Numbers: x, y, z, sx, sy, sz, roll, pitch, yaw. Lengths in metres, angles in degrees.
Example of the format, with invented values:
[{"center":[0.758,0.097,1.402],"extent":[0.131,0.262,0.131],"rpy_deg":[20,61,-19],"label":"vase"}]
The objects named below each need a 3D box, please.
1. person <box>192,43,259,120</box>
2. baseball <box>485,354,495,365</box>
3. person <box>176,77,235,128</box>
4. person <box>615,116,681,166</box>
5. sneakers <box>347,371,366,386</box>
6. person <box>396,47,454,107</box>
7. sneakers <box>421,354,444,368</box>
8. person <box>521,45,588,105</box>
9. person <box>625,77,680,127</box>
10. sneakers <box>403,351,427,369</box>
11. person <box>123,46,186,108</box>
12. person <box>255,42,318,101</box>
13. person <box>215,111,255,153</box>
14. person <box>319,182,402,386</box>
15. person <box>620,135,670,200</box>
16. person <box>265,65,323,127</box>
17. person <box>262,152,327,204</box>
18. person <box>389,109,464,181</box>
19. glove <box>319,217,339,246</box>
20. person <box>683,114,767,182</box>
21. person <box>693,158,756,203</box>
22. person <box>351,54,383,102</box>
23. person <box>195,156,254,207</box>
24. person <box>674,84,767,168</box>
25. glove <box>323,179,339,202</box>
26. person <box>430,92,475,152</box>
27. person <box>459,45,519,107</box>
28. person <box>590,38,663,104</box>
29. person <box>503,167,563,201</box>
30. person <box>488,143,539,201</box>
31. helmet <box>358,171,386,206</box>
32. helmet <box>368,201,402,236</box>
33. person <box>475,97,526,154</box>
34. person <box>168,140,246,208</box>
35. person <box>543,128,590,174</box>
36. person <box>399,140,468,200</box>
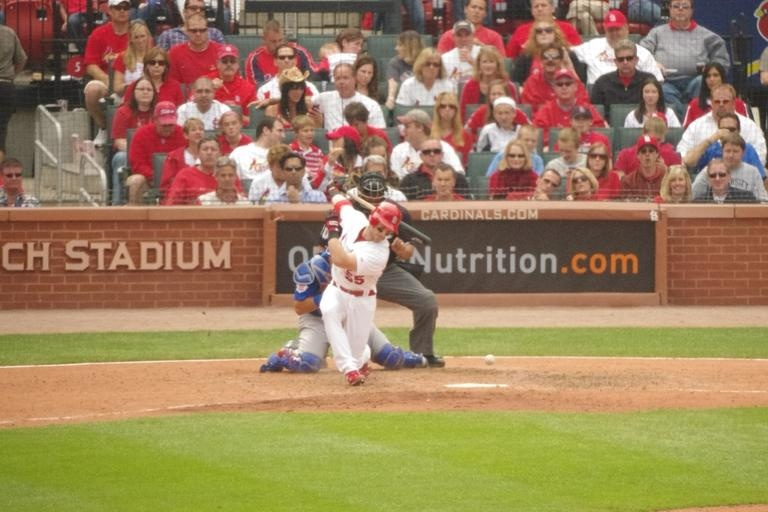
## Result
[{"center":[-2.648,-3.401,29.808],"extent":[1.010,0.618,2.091],"rpy_deg":[-4,-11,1],"label":"person"},{"center":[1.526,1.502,24.166],"extent":[0.132,0.097,0.131],"rpy_deg":[-2,-3,26],"label":"baseball"},{"center":[-3.013,-2.491,28.587],"extent":[1.064,0.878,0.640],"rpy_deg":[-1,1,-13],"label":"person"},{"center":[4.347,-1.876,28.373],"extent":[0.700,0.542,1.072],"rpy_deg":[8,15,-5],"label":"person"},{"center":[-0.380,1.678,22.954],"extent":[0.151,0.137,0.289],"rpy_deg":[29,-18,-21],"label":"sneakers"},{"center":[0.799,-2.994,29.423],"extent":[1.172,1.064,0.609],"rpy_deg":[0,3,-16],"label":"person"},{"center":[0.702,1.514,24.023],"extent":[0.334,0.135,0.141],"rpy_deg":[1,3,1],"label":"sneakers"},{"center":[2.949,-3.034,29.423],"extent":[1.365,1.129,0.770],"rpy_deg":[-1,15,22],"label":"person"},{"center":[4.559,-2.603,29.063],"extent":[1.077,0.885,0.538],"rpy_deg":[-1,-2,0],"label":"person"},{"center":[0.448,1.496,23.881],"extent":[0.318,0.183,0.142],"rpy_deg":[4,7,-8],"label":"sneakers"},{"center":[-3.809,-2.992,29.001],"extent":[1.013,0.914,0.563],"rpy_deg":[-2,-5,7],"label":"person"},{"center":[-1.673,-3.114,29.150],"extent":[1.236,1.033,0.637],"rpy_deg":[1,-24,-6],"label":"person"},{"center":[-2.463,-2.033,28.149],"extent":[0.743,0.674,0.414],"rpy_deg":[-6,14,-17],"label":"person"},{"center":[-0.342,0.511,22.992],"extent":[0.984,2.518,0.510],"rpy_deg":[0,7,-1],"label":"person"},{"center":[4.262,-1.434,27.760],"extent":[0.743,1.059,0.450],"rpy_deg":[1,7,7],"label":"person"},{"center":[-1.515,-2.659,28.662],"extent":[0.818,1.291,0.647],"rpy_deg":[-19,30,-31],"label":"person"},{"center":[-1.294,-1.182,27.755],"extent":[0.542,0.956,1.131],"rpy_deg":[4,-11,-41],"label":"person"},{"center":[0.720,-1.691,28.008],"extent":[1.257,1.441,0.851],"rpy_deg":[0,2,23],"label":"person"},{"center":[-0.747,-0.335,23.859],"extent":[0.166,0.383,0.301],"rpy_deg":[26,6,-37],"label":"glove"},{"center":[5.616,-1.753,28.111],"extent":[0.978,1.056,0.601],"rpy_deg":[15,13,30],"label":"person"},{"center":[5.590,-1.202,27.899],"extent":[1.192,0.640,0.523],"rpy_deg":[2,10,39],"label":"person"},{"center":[-0.336,-3.003,29.054],"extent":[0.629,0.901,0.500],"rpy_deg":[7,12,1],"label":"person"},{"center":[-2.577,-1.213,27.724],"extent":[0.975,0.775,0.484],"rpy_deg":[-2,11,-18],"label":"person"},{"center":[5.603,-2.147,28.608],"extent":[1.657,1.471,0.883],"rpy_deg":[6,1,10],"label":"person"},{"center":[-0.798,-1.025,26.383],"extent":[0.156,0.142,0.470],"rpy_deg":[17,12,0],"label":"glove"},{"center":[1.087,-2.138,28.468],"extent":[0.823,1.039,0.592],"rpy_deg":[0,-21,2],"label":"person"},{"center":[1.801,-2.823,29.347],"extent":[0.971,1.633,0.484],"rpy_deg":[-5,8,-6],"label":"person"},{"center":[4.195,-3.194,29.673],"extent":[1.375,1.210,0.691],"rpy_deg":[0,-2,0],"label":"person"},{"center":[2.480,-1.063,27.639],"extent":[0.800,0.346,0.479],"rpy_deg":[-16,-16,3],"label":"person"},{"center":[2.111,-1.385,27.553],"extent":[0.803,0.978,0.316],"rpy_deg":[0,7,3],"label":"person"},{"center":[-0.136,-0.961,23.499],"extent":[0.348,0.358,0.427],"rpy_deg":[1,19,-4],"label":"helmet"},{"center":[0.029,-0.481,22.935],"extent":[0.428,0.482,0.413],"rpy_deg":[0,7,-1],"label":"helmet"},{"center":[1.950,-2.140,28.331],"extent":[0.968,0.920,0.491],"rpy_deg":[6,-8,-6],"label":"person"},{"center":[-2.902,-1.354,27.532],"extent":[1.246,1.090,0.405],"rpy_deg":[-1,7,-8],"label":"person"},{"center":[3.100,-1.601,27.841],"extent":[0.848,0.794,0.458],"rpy_deg":[-2,6,31],"label":"person"},{"center":[0.815,-1.333,27.749],"extent":[1.400,1.131,0.749],"rpy_deg":[-3,-6,-3],"label":"person"}]
